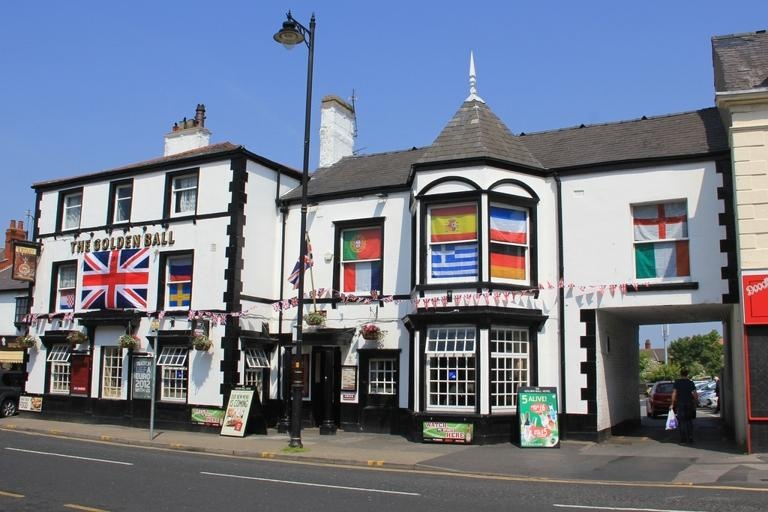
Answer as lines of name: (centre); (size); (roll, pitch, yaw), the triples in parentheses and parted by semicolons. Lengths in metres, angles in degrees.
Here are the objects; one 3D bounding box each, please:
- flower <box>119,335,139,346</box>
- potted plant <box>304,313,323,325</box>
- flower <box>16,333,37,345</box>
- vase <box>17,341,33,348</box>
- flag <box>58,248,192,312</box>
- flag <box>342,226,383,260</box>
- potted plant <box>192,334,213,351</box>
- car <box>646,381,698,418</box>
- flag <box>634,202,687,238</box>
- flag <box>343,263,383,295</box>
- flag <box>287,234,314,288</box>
flower: (-10.440, 3.510, 33.199); (0.524, 0.335, 0.501); (3, -10, -5)
potted plant: (-2.697, 2.509, 31.939); (0.530, 0.356, 0.539); (-6, -9, 19)
flower: (-15.729, 3.734, 35.857); (0.514, 0.298, 0.522); (-1, -9, 25)
vase: (-15.837, 3.907, 35.851); (0.518, 0.304, 0.465); (1, -1, -24)
flag: (-11.210, 0.998, 34.293); (3.642, 2.627, 0.406); (0, -1, 23)
flag: (-0.763, -0.488, 32.740); (1.295, 0.980, 0.054); (-5, -16, 27)
potted plant: (-7.203, 3.439, 32.077); (0.650, 0.463, 0.624); (8, -13, -10)
car: (14.402, 7.375, 40.983); (2.206, 2.131, 4.840); (-1, -4, 8)
flag: (10.020, -1.236, 29.215); (1.845, 1.393, 0.094); (-3, -22, 23)
flag: (-0.744, 0.948, 32.522); (1.218, 0.910, 0.052); (-4, -12, 25)
flag: (-3.215, 0.218, 32.699); (1.146, 2.759, 0.250); (2, -29, -7)
